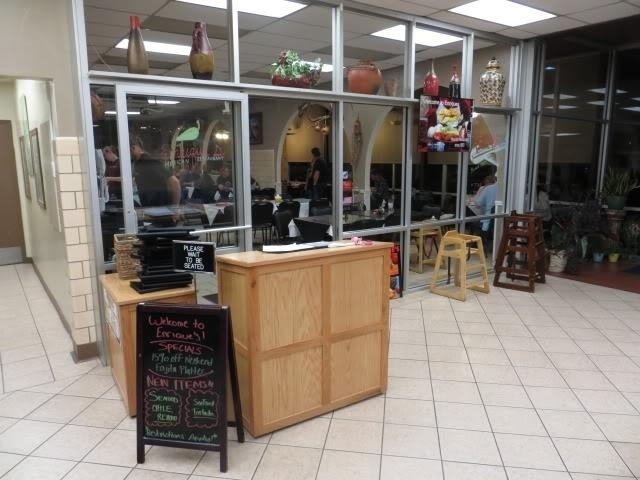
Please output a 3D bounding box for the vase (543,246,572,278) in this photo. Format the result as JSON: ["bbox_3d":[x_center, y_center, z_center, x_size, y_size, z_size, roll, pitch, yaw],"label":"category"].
[{"bbox_3d":[3.518,0.340,6.863,0.331,0.357,0.343,-3,4,-43],"label":"vase"}]

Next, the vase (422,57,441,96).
[{"bbox_3d":[1.399,-2.043,5.852,0.183,0.494,0.586,1,11,12],"label":"vase"}]

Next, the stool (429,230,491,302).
[{"bbox_3d":[1.818,0.304,5.948,0.655,0.759,0.684,7,10,34],"label":"stool"}]

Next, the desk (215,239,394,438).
[{"bbox_3d":[-0.124,0.735,3.356,1.287,1.169,0.489,-6,9,-39],"label":"desk"}]

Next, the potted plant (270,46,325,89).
[{"bbox_3d":[-0.228,-1.788,4.845,0.497,0.267,0.351,-5,11,-29],"label":"potted plant"}]

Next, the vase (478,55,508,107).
[{"bbox_3d":[2.343,-2.146,6.295,0.332,0.598,0.142,-5,12,-15],"label":"vase"}]

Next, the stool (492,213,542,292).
[{"bbox_3d":[2.700,0.176,6.312,0.674,1.213,0.952,7,8,33],"label":"stool"}]

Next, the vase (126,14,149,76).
[{"bbox_3d":[-1.590,-1.703,4.030,0.180,0.494,0.098,-12,15,-40],"label":"vase"}]

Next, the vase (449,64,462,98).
[{"bbox_3d":[1.725,-2.035,5.943,0.136,0.415,0.375,1,11,14],"label":"vase"}]

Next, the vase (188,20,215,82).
[{"bbox_3d":[-1.105,-1.772,4.320,0.217,0.527,0.131,-3,12,-4],"label":"vase"}]

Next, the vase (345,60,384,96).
[{"bbox_3d":[0.533,-1.906,5.475,0.410,0.389,0.423,-1,17,-6],"label":"vase"}]

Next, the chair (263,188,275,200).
[{"bbox_3d":[-0.591,-0.544,5.412,0.128,0.155,0.129,-3,15,-18],"label":"chair"}]

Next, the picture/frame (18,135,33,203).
[{"bbox_3d":[-3.972,-0.999,6.276,0.045,1.035,0.924,-1,7,-35],"label":"picture/frame"}]

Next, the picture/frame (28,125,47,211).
[{"bbox_3d":[-3.139,-0.833,5.177,0.036,0.999,0.889,-7,12,-22],"label":"picture/frame"}]

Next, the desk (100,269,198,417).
[{"bbox_3d":[-1.421,0.819,3.828,0.543,0.855,0.892,-4,6,-33],"label":"desk"}]

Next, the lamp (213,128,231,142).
[{"bbox_3d":[-0.924,-1.025,4.466,0.131,0.113,0.035,2,12,-30],"label":"lamp"}]

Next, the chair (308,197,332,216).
[{"bbox_3d":[0.007,-0.387,5.400,0.212,0.197,0.208,0,19,0],"label":"chair"}]

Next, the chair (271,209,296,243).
[{"bbox_3d":[-0.443,-0.159,5.585,0.296,0.481,0.330,-2,5,-21],"label":"chair"}]
